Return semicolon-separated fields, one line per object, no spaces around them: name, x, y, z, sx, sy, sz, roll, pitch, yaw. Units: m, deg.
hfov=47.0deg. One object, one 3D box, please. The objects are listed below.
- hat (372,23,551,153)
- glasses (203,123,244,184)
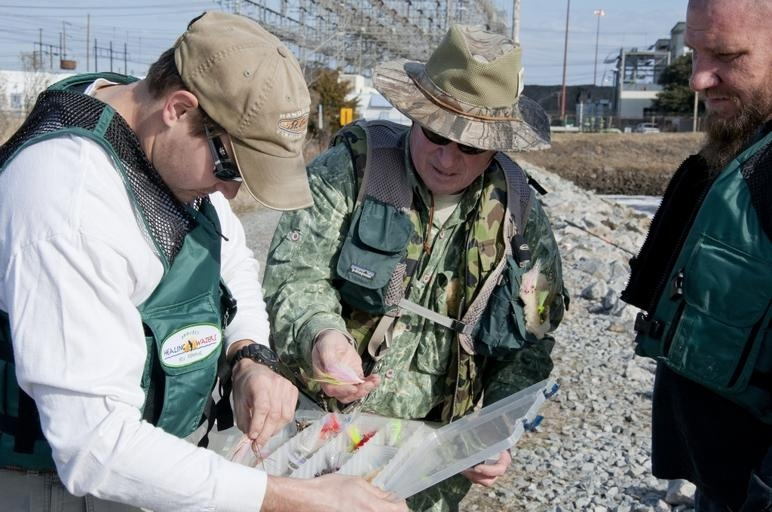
hat;0.509;-1.032;5.168;1.070;0.501;1.110;-6;30;-40
glasses;-0.750;-0.448;4.052;0.048;0.197;0.212;-22;59;6
